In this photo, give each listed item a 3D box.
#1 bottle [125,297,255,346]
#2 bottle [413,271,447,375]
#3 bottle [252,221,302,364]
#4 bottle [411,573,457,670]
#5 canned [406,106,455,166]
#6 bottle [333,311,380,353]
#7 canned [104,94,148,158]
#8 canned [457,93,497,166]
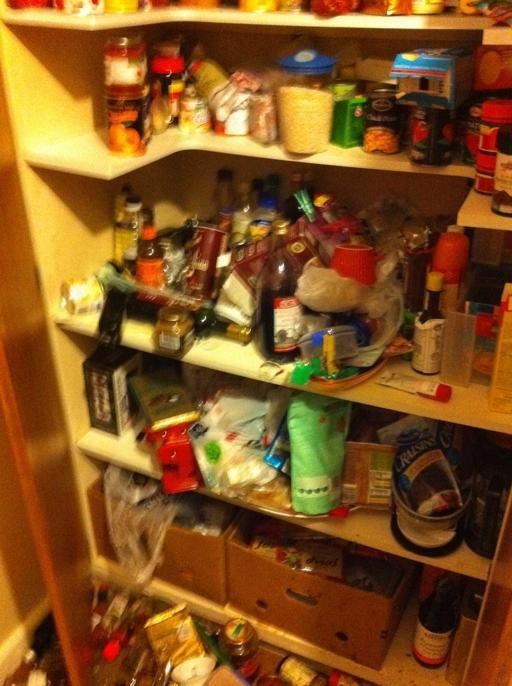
[{"bbox_3d":[-0.141,-0.050,1.195,0.164,0.037,0.155,21,9,-3],"label":"bottle"},{"bbox_3d":[0.306,-0.030,0.974,0.051,0.188,0.049,-2,22,1],"label":"bottle"},{"bbox_3d":[0.048,-0.102,1.066,0.086,0.273,0.095,-8,22,-14],"label":"bottle"},{"bbox_3d":[0.391,0.600,1.266,0.078,0.160,0.227,6,37,15],"label":"bottle"},{"bbox_3d":[0.300,-0.354,0.945,0.074,0.097,0.061,5,23,19],"label":"canned"},{"bbox_3d":[0.191,-0.028,1.034,0.072,0.048,0.084,-11,23,-21],"label":"bottle"},{"bbox_3d":[-0.243,-0.411,1.037,0.074,0.113,0.040,-8,22,-13],"label":"canned"},{"bbox_3d":[0.371,-0.359,0.923,0.051,0.115,0.136,3,22,13],"label":"canned"}]
